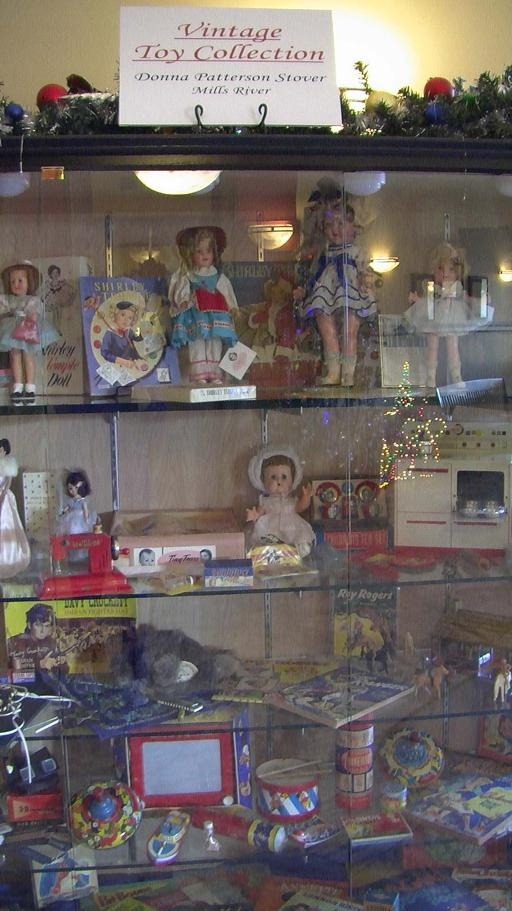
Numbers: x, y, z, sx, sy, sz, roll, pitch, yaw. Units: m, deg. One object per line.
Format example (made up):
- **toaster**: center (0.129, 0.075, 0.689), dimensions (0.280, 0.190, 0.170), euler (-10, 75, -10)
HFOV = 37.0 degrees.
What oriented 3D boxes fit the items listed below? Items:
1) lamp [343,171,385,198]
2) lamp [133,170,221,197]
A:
- **lamp**: center (0.196, -0.488, 1.382), dimensions (0.074, 0.031, 0.063), euler (-2, 7, 8)
- **lamp**: center (-0.136, -0.483, 1.364), dimensions (0.147, 0.029, 0.075), euler (-3, 7, -2)
